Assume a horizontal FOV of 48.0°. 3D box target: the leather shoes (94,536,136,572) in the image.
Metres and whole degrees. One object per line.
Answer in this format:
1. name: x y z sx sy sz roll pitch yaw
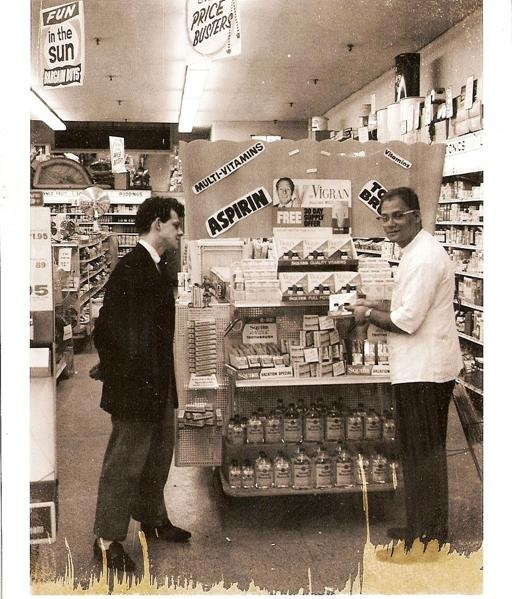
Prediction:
1. leather shoes: -0.501 0.905 2.038 0.144 0.114 0.045 -2 4 -9

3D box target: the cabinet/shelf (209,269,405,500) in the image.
1. cabinet/shelf: 0.194 0.188 2.581 0.798 1.246 0.757 -1 7 -2

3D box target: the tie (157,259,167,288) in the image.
1. tie: -0.332 -0.097 2.060 0.015 0.075 0.047 -7 15 2

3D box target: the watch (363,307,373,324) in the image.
1. watch: 0.443 0.063 2.293 0.036 0.051 0.028 3 7 -9

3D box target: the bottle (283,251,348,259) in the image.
1. bottle: 0.244 -0.177 2.340 0.273 0.034 0.046 1 6 17
